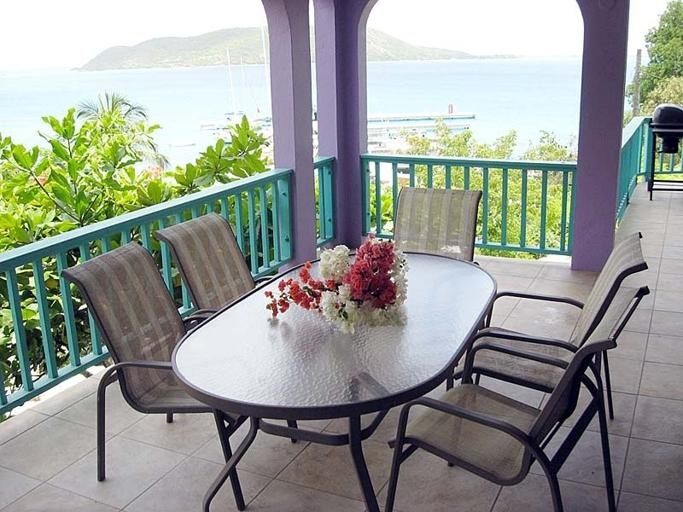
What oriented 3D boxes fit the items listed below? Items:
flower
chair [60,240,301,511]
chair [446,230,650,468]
[{"bbox_3d":[0.008,0.125,2.589,0.583,0.357,0.462,0,3,6],"label":"flower"},{"bbox_3d":[-1.043,0.433,3.168,1.189,1.671,0.999,4,15,17],"label":"chair"},{"bbox_3d":[1.021,0.244,2.947,1.006,1.376,0.821,9,25,23],"label":"chair"}]
